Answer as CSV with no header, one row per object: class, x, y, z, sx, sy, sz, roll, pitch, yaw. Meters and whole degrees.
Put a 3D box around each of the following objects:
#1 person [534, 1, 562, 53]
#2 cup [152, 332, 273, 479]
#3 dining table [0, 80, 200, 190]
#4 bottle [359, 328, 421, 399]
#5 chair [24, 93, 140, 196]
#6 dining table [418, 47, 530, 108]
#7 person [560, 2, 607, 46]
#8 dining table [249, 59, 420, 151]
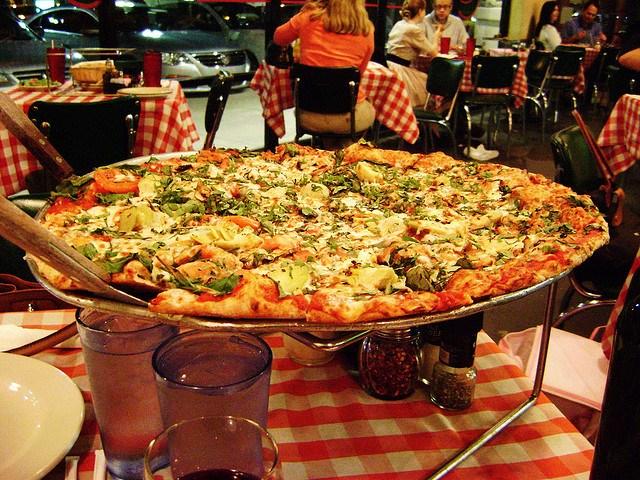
person,3.544,-3.276,7.184,0.393,0.681,1.265,13,30,18
cup,-0.091,0.198,0.574,0.160,0.125,0.135,3,27,1
dining table,-1.068,-0.551,2.408,0.888,0.329,0.788,-5,7,-2
bottle,0.105,0.232,0.885,0.151,0.107,0.099,8,-8,-21
chair,-1.026,-0.367,2.044,0.477,0.549,0.467,-4,-1,-26
dining table,1.976,-1.764,5.306,1.160,0.570,0.941,1,22,6
person,4.532,-3.674,7.955,0.697,0.634,0.725,11,31,17
dining table,0.305,-1.047,3.737,1.005,0.359,0.795,3,31,1
